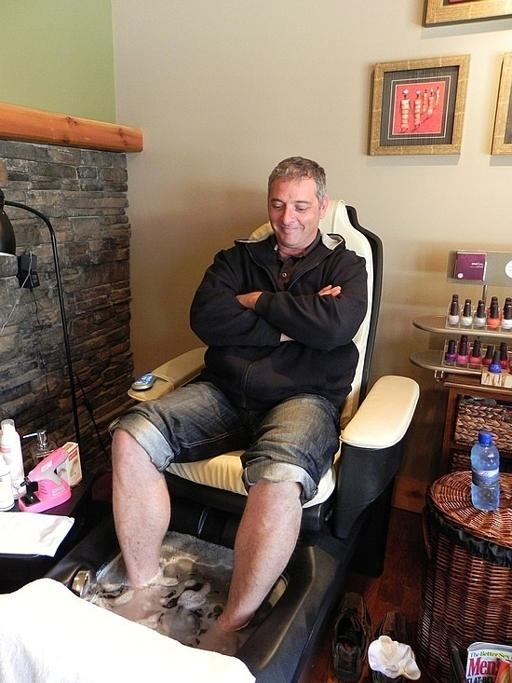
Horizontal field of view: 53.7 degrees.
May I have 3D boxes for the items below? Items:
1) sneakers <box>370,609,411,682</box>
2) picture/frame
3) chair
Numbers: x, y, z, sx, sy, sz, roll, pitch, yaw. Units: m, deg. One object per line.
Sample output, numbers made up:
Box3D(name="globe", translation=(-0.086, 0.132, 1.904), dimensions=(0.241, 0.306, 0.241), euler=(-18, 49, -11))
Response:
Box3D(name="sneakers", translation=(0.330, 0.722, 1.212), dimensions=(0.059, 0.059, 0.171), euler=(-3, 19, 12))
Box3D(name="picture/frame", translation=(0.555, -0.833, 1.621), dimensions=(0.407, 0.452, 0.061), euler=(16, 22, 32))
Box3D(name="chair", translation=(0.108, 0.057, 1.447), dimensions=(0.747, 0.820, 0.752), euler=(0, 19, -11))
